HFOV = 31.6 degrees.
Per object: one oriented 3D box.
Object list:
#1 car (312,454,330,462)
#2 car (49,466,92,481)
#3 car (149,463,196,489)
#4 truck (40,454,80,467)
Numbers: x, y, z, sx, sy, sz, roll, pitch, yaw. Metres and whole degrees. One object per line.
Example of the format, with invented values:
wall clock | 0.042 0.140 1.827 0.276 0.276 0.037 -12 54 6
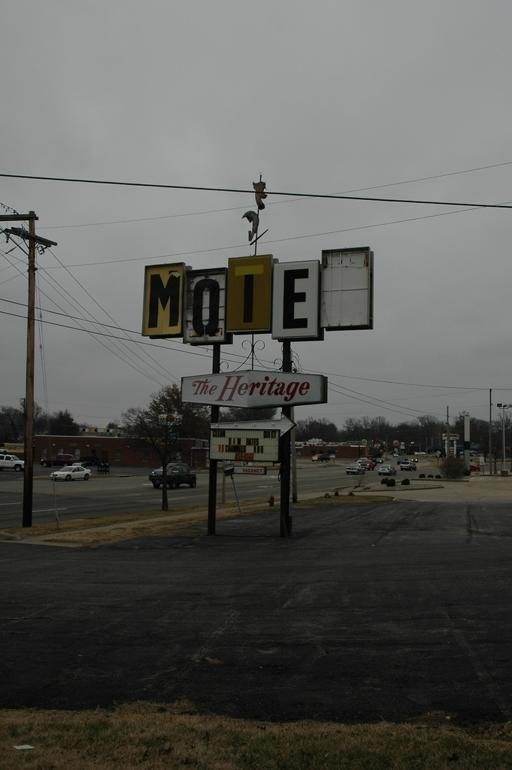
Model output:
car | 10.008 11.033 135.934 1.846 0.945 1.195 10 -12 -41
car | -12.468 6.038 61.150 1.664 0.991 4.151 -1 -4 6
car | -4.840 5.549 52.714 1.423 1.456 3.233 0 2 27
truck | -19.318 7.521 89.065 4.319 1.550 2.041 2 -1 26
